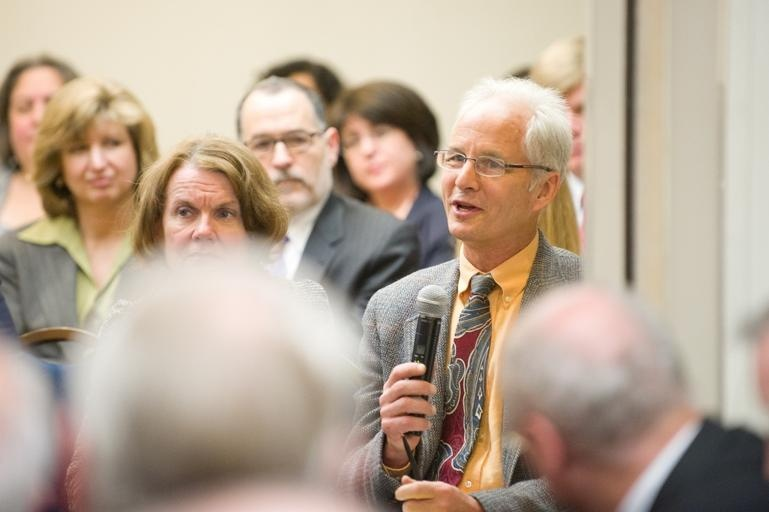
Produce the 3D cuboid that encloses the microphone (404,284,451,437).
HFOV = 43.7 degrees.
[{"bbox_3d":[0.168,0.299,3.618,0.113,0.373,0.169,2,8,36],"label":"microphone"}]

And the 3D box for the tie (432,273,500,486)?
[{"bbox_3d":[0.338,0.491,3.885,0.182,0.914,0.126,11,-4,38],"label":"tie"}]
